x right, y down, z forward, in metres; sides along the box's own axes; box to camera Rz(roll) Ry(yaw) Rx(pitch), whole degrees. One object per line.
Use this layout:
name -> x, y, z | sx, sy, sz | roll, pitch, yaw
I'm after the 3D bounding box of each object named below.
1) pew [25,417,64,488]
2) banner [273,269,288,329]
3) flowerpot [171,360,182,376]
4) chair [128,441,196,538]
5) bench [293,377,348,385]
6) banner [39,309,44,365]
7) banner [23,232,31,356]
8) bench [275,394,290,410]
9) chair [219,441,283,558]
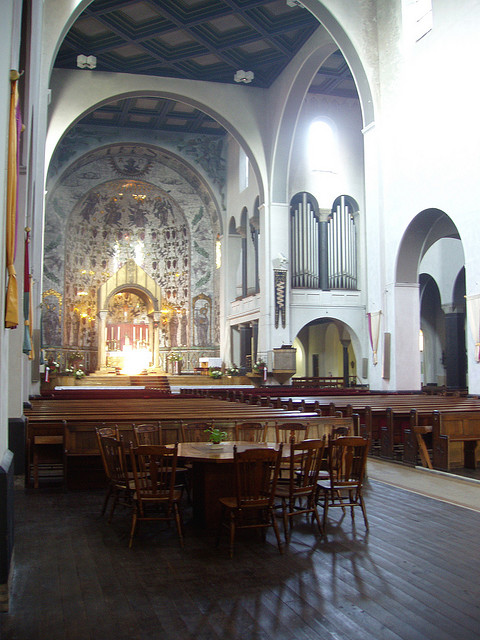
pew -> -2.066, 1.476, 5.920 | 0.429, 0.718, 0.509 | 1, 0, -24
banner -> 1.270, -0.731, 17.132 | 0.635, 1.978, 0.246 | 3, 3, 39
flowerpot -> -2.457, 1.893, 21.311 | 0.443, 0.552, 0.594 | -2, -3, 26
chair -> -0.571, 1.216, 3.846 | 0.473, 0.644, 0.468 | 1, -13, -9
bench -> 2.874, 2.196, 19.616 | 1.506, 0.224, 4.240 | -2, -6, 15
banner -> -5.785, 0.383, 15.741 | 0.061, 1.894, 8.314 | 1, -6, -20
banner -> -2.453, -0.306, 6.239 | 0.088, 1.411, 0.815 | 2, -6, -21
bench -> 0.720, 1.452, 9.444 | 0.212, 0.283, 0.250 | 0, -14, 0
chair -> 0.060, 1.194, 3.734 | 0.419, 0.739, 0.848 | -1, -6, -1
